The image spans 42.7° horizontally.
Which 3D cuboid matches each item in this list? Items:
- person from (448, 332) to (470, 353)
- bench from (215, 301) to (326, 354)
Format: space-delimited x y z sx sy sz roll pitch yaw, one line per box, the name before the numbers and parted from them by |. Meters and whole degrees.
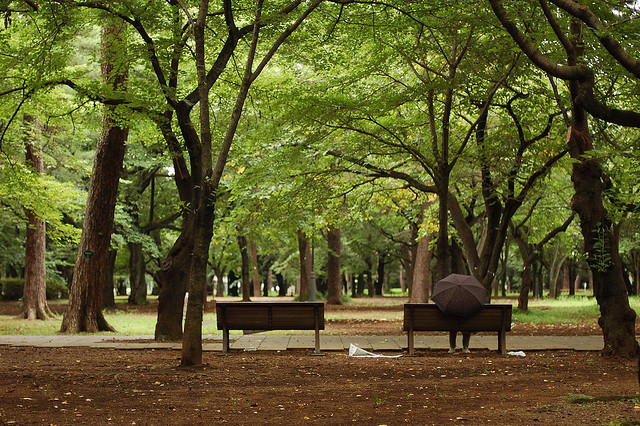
person | 3.906 3.620 23.116 0.760 0.679 0.543 -1 -15 6
bench | -1.375 3.227 22.950 3.086 1.326 1.254 -1 -10 0
